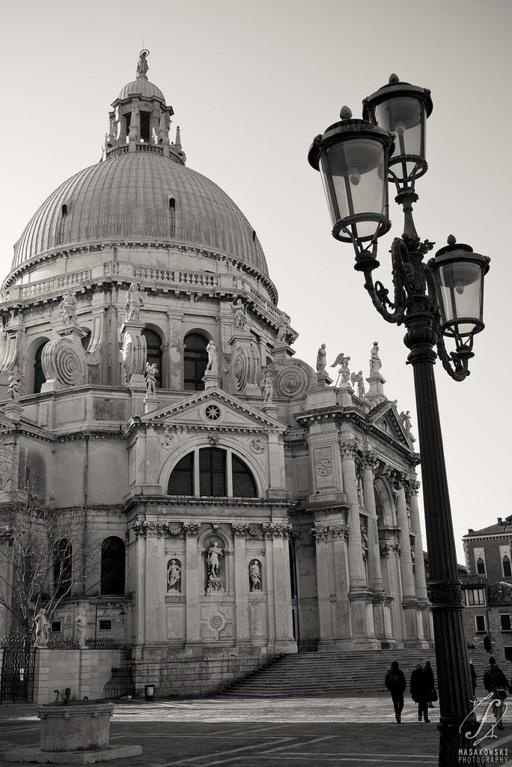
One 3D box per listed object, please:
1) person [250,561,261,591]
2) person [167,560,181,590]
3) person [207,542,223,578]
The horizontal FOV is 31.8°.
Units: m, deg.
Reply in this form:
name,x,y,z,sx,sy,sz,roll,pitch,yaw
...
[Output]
name,x,y,z,sx,sy,sz,roll,pitch,yaw
person,-0.019,9.239,43.056,0.624,1.497,0.230,10,-22,-35
person,-3.776,8.866,41.487,0.721,1.506,0.198,8,-21,-31
person,-1.924,8.405,42.563,0.780,1.749,0.310,11,-22,-35
